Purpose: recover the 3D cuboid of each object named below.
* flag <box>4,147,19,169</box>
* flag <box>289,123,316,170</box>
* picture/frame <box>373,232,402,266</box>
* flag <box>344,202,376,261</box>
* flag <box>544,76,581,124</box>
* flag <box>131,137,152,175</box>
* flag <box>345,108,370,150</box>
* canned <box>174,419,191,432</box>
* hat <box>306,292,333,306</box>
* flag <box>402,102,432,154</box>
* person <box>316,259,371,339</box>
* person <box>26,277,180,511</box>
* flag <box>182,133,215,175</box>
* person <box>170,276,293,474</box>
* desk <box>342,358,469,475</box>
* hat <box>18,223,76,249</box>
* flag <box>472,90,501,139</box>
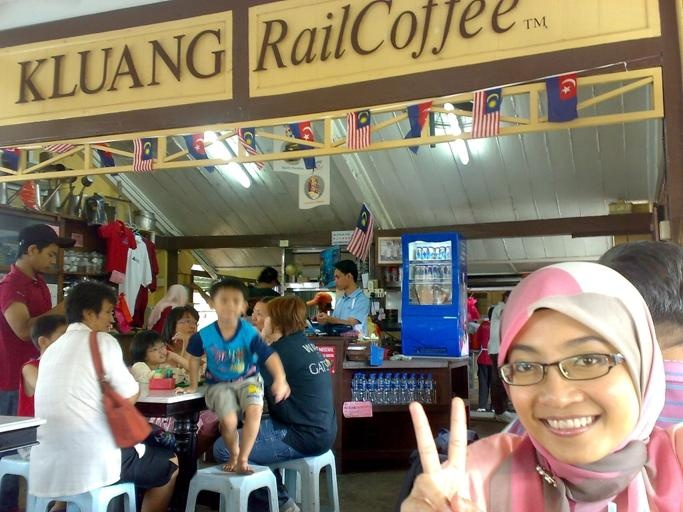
[{"bbox_3d":[-3.021,-0.876,5.168,0.163,0.185,0.042,6,4,12],"label":"flag"},{"bbox_3d":[-0.287,-0.883,4.531,0.147,0.424,0.020,2,24,14],"label":"flag"},{"bbox_3d":[0.726,-0.114,8.838,0.463,0.513,0.049,-4,3,0],"label":"picture/frame"},{"bbox_3d":[0.241,-0.327,7.432,0.302,0.740,0.560,-1,-4,0],"label":"flag"},{"bbox_3d":[1.513,-1.069,3.917,0.261,0.401,0.032,-6,10,28],"label":"flag"},{"bbox_3d":[-1.679,-0.840,4.820,0.175,0.320,0.008,-5,-22,-8],"label":"flag"},{"bbox_3d":[0.132,-0.946,4.343,0.168,0.274,0.187,-1,-4,-3],"label":"flag"},{"bbox_3d":[-1.061,1.129,3.842,0.079,0.104,0.108,0,-14,6],"label":"canned"},{"bbox_3d":[-0.264,0.477,6.326,0.213,0.065,0.211,8,-12,-39],"label":"hat"},{"bbox_3d":[0.567,-1.003,4.263,0.094,0.294,0.335,9,9,35],"label":"flag"},{"bbox_3d":[0.014,0.557,6.245,0.525,0.983,0.613,-7,6,-31],"label":"person"},{"bbox_3d":[-1.345,0.844,3.248,0.730,1.424,0.539,2,-5,-32],"label":"person"},{"bbox_3d":[-1.202,-0.912,4.786,0.082,0.237,0.287,19,27,35],"label":"flag"},{"bbox_3d":[-0.649,0.710,3.581,0.655,1.149,0.493,0,-4,-10],"label":"person"},{"bbox_3d":[0.535,1.448,5.718,1.246,1.101,0.748,-3,7,12],"label":"desk"},{"bbox_3d":[-2.394,-0.150,4.558,0.475,0.252,0.299,-7,4,-28],"label":"hat"},{"bbox_3d":[1.037,-1.007,4.083,0.204,0.391,0.035,-2,-21,24],"label":"flag"}]
